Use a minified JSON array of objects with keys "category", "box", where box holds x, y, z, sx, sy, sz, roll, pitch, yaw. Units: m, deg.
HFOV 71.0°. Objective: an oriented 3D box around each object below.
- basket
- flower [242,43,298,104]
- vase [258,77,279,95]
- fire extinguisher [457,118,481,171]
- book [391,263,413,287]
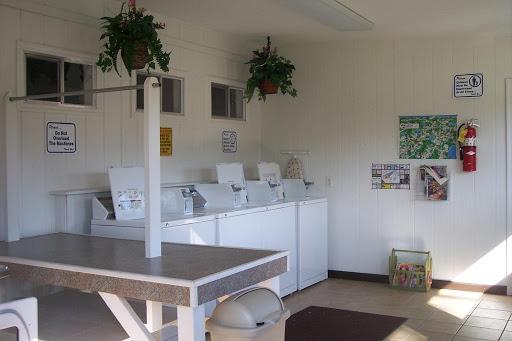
[{"category":"basket","box":[2.134,1.403,5.014,0.569,0.548,0.258,13,12,31]},{"category":"flower","box":[0.208,-1.353,5.224,0.856,0.965,0.715,7,8,26]},{"category":"vase","box":[0.188,-1.159,4.974,0.215,0.164,0.215,3,-6,-44]},{"category":"fire extinguisher","box":[2.839,-0.354,4.838,0.257,0.723,0.191,4,5,32]},{"category":"book","box":[2.020,1.456,5.020,0.288,0.178,0.290,-4,16,11]}]
